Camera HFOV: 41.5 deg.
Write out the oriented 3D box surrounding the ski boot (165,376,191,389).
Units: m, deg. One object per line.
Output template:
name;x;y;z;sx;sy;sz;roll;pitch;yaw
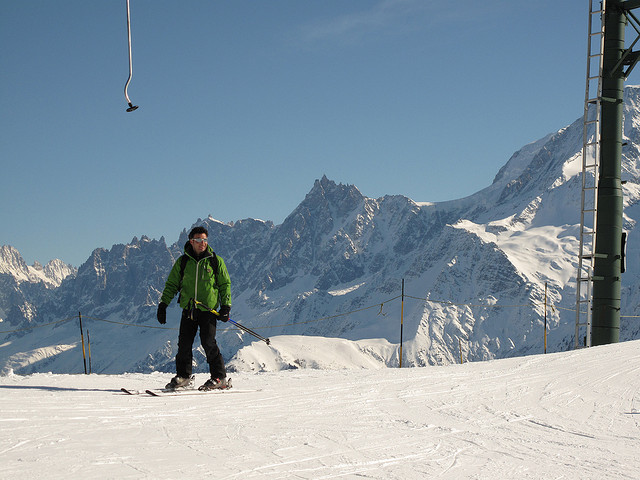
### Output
ski boot;-2.915;2.915;17.440;0.531;0.244;0.195;6;-12;-31
